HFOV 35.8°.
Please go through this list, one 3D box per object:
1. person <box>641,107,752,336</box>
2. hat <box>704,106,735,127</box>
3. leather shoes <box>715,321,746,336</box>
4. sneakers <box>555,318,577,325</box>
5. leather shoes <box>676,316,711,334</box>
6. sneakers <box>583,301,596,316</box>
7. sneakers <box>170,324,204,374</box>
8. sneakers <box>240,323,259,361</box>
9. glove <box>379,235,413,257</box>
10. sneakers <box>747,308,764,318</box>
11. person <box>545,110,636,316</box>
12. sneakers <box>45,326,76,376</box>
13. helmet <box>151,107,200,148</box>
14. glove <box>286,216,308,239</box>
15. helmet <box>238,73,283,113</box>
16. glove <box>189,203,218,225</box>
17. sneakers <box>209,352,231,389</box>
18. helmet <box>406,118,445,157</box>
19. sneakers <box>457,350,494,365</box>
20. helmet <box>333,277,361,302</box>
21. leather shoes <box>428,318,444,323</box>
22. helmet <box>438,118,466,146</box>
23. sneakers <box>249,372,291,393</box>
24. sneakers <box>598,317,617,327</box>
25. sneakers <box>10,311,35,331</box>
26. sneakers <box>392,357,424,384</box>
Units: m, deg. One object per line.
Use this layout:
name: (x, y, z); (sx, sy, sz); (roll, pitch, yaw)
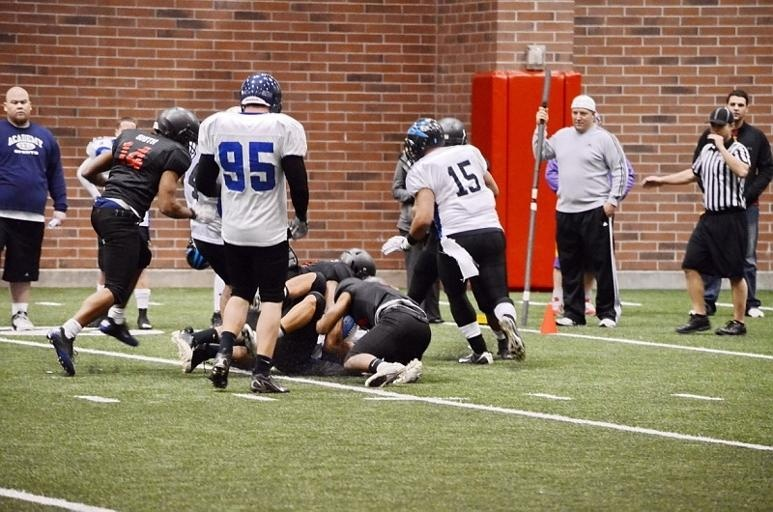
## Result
person: (3.610, -0.384, 13.256); (0.877, 2.496, 0.755); (1, 1, 33)
hat: (3.683, -1.529, 13.127); (0.231, 0.206, 0.241); (0, 2, 14)
leather shoes: (3.814, 0.798, 13.235); (0.380, 0.159, 0.140); (1, -3, -9)
sneakers: (2.131, 0.787, 14.055); (0.097, 0.086, 0.201); (-2, -14, 40)
leather shoes: (3.441, 0.761, 13.352); (0.463, 0.203, 0.162); (-1, -2, -7)
sneakers: (2.526, 0.647, 14.783); (0.141, 0.088, 0.231); (-1, -8, 8)
sneakers: (-1.779, 0.761, 10.671); (0.266, 0.529, 0.179); (-18, -38, 1)
sneakers: (-1.203, 0.740, 10.655); (0.094, 0.225, 0.179); (-17, -2, -9)
glove: (0.107, -0.072, 11.725); (0.290, 0.083, 0.196); (1, 36, 14)
sneakers: (4.504, 0.693, 14.623); (0.107, 0.081, 0.211); (0, -6, 2)
person: (2.348, -0.342, 13.935); (0.934, 2.302, 0.296); (1, 1, 30)
sneakers: (-2.878, 0.849, 10.691); (0.225, 0.436, 0.256); (0, 1, -15)
helmet: (-1.964, -1.209, 11.226); (0.403, 0.369, 0.492); (14, 10, 37)
glove: (-0.764, -0.242, 10.471); (0.145, 0.158, 0.194); (3, -14, 1)
helmet: (-1.053, -1.408, 10.455); (0.339, 0.347, 0.415); (6, 21, 27)
glove: (-1.717, -0.403, 11.447); (0.340, 0.173, 0.268); (7, 6, -11)
sneakers: (-1.416, 0.991, 10.164); (0.147, 0.162, 0.322); (14, -39, 8)
helmet: (0.367, -1.133, 11.569); (0.357, 0.402, 0.432); (-15, 13, -42)
sneakers: (0.889, 0.980, 11.636); (0.372, 0.148, 0.133); (1, -1, 23)
helmet: (-0.334, 0.303, 10.864); (0.217, 0.191, 0.205); (-2, 1, -6)
leather shoes: (0.603, 0.768, 14.077); (0.164, 0.060, 0.056); (12, -13, -22)
helmet: (0.713, -1.259, 12.192); (0.271, 0.280, 0.314); (-3, 19, -7)
sneakers: (-0.991, 1.087, 10.226); (0.404, 0.158, 0.129); (2, -2, -29)
sneakers: (2.569, 0.769, 13.808); (0.195, 0.094, 0.245); (0, 2, 12)
sneakers: (-3.963, 0.721, 13.102); (0.158, 0.131, 0.338); (-1, -3, -28)
sneakers: (0.219, 1.034, 10.576); (0.248, 0.112, 0.193); (-27, -10, -3)
